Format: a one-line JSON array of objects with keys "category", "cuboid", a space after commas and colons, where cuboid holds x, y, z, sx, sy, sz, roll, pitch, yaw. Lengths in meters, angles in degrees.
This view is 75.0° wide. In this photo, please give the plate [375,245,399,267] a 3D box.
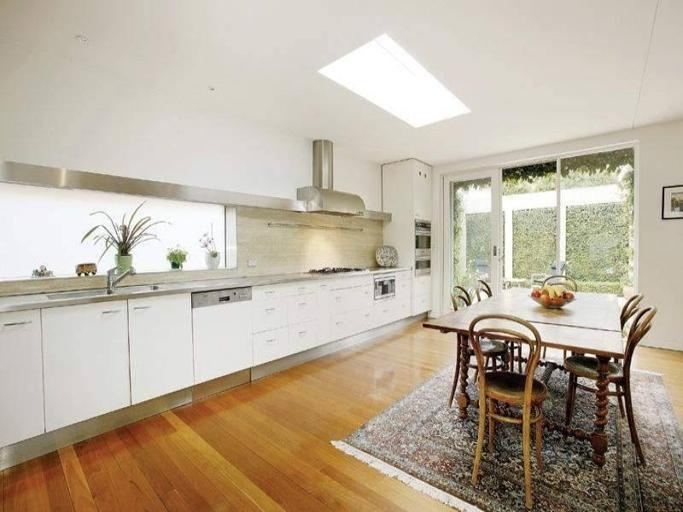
[{"category": "plate", "cuboid": [0.730, -0.003, 7.114, 0.377, 0.339, 0.236, -1, 3, 8]}]

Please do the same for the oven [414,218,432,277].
[{"category": "oven", "cuboid": [1.441, -0.114, 7.266, 0.276, 0.887, 0.560, -1, 2, -19]}]

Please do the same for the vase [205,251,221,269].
[{"category": "vase", "cuboid": [-1.461, 0.058, 5.068, 0.171, 0.216, 0.179, 4, -7, -28]}]

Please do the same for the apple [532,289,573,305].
[{"category": "apple", "cuboid": [2.038, 0.399, 4.330, 0.214, 0.091, 0.213, 2, -4, -37]}]

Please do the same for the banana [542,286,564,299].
[{"category": "banana", "cuboid": [2.075, 0.337, 4.337, 0.121, 0.067, 0.155, 3, 3, 36]}]

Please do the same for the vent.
[{"category": "vent", "cuboid": [-0.143, -1.063, 6.098, 0.824, 1.099, 0.643, 3, -7, -32]}]

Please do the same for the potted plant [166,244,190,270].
[{"category": "potted plant", "cuboid": [-1.782, 0.000, 4.796, 0.227, 0.254, 0.232, -2, -2, 31]}]

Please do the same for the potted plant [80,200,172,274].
[{"category": "potted plant", "cuboid": [-2.227, -0.194, 4.524, 0.619, 0.439, 0.655, 2, 3, 15]}]
